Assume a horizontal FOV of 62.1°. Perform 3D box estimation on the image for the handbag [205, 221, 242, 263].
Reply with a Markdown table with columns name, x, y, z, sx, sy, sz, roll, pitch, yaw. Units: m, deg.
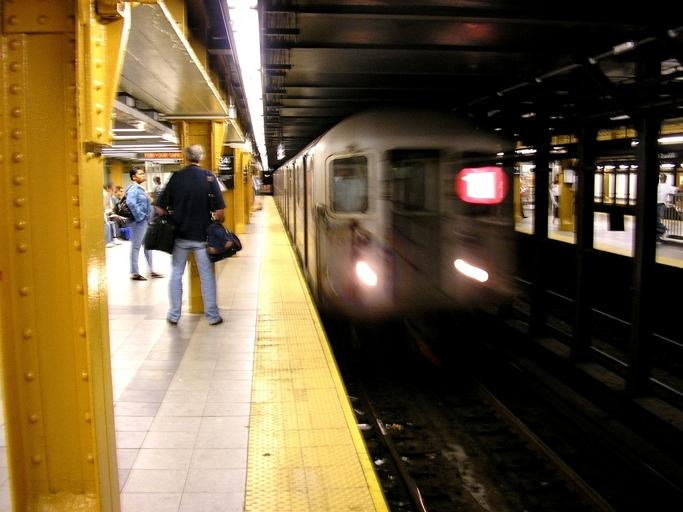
| name | x | y | z | sx | sy | sz | roll | pitch | yaw |
| --- | --- | --- | --- | --- | --- | --- | --- | --- | --- |
| handbag | -1.486 | -0.267 | 7.068 | 0.410 | 0.611 | 0.695 | -12 | 1 | -4 |

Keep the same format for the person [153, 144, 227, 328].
| name | x | y | z | sx | sy | sz | roll | pitch | yaw |
| --- | --- | --- | --- | --- | --- | --- | --- | --- | --- |
| person | -1.797 | -0.225 | 6.889 | 0.792 | 2.227 | 0.454 | -5 | 12 | -15 |

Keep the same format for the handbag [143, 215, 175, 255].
| name | x | y | z | sx | sy | sz | roll | pitch | yaw |
| --- | --- | --- | --- | --- | --- | --- | --- | --- | --- |
| handbag | -2.120 | -0.264 | 6.636 | 0.360 | 0.442 | 0.243 | -5 | 12 | -18 |

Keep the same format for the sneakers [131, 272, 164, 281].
| name | x | y | z | sx | sy | sz | roll | pitch | yaw |
| --- | --- | --- | --- | --- | --- | --- | --- | --- | --- |
| sneakers | -3.479 | 0.357 | 10.201 | 0.526 | 0.184 | 0.153 | -2 | 6 | -11 |
